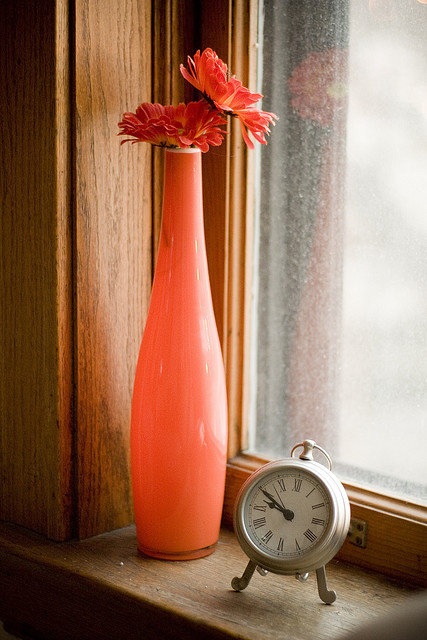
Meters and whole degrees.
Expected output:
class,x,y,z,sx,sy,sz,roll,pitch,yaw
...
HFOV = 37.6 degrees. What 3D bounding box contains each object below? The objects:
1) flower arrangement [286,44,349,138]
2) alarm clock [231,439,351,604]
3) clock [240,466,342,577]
class,x,y,z,sx,sy,sz,roll,pitch,yaw
flower arrangement,0.149,-0.349,0.905,0.088,0.125,0.085,-1,-28,10
alarm clock,0.092,0.244,0.767,0.127,0.204,0.055,6,-22,19
clock,0.092,0.241,0.753,0.118,0.135,0.039,2,-19,30
